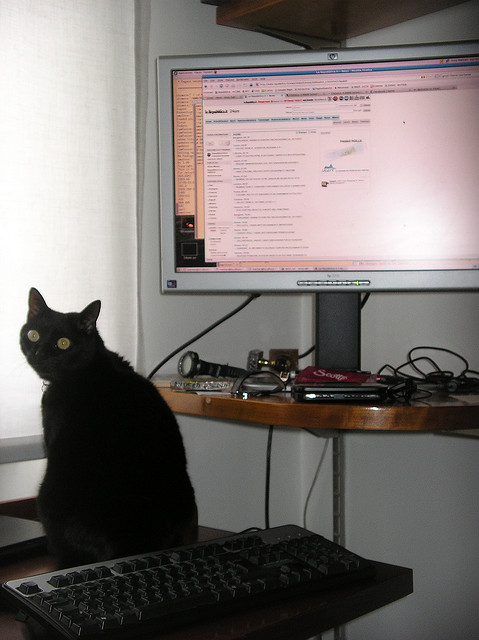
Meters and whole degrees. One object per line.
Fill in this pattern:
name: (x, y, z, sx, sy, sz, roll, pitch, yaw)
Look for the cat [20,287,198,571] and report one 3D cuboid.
cat: (-0.221, 0.135, 0.953, 0.198, 0.452, 0.235, 6, -38, -45)
